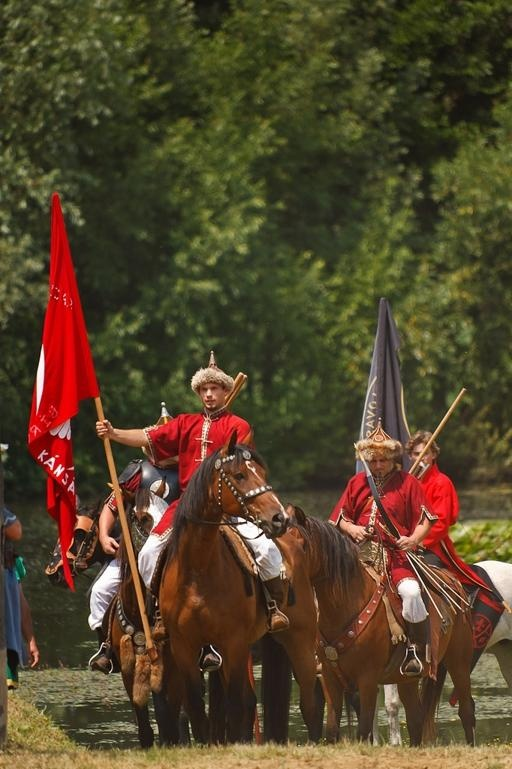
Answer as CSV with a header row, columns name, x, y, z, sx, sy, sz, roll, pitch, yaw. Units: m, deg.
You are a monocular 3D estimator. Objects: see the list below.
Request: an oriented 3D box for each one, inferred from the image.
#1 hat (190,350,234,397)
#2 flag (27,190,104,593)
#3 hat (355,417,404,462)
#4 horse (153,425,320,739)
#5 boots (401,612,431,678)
name,x,y,z,sx,sy,sz,roll,pitch,yaw
hat,-0.329,-0.088,12.841,0.338,0.319,0.314,0,-29,2
flag,-1.433,-0.099,12.382,0.402,2.565,0.580,1,9,31
hat,0.966,0.436,12.928,0.323,0.270,0.312,0,-11,9
horse,0.002,1.551,12.438,1.224,2.532,1.564,0,8,24
boots,1.221,2.000,12.696,0.163,0.407,0.264,1,9,31
